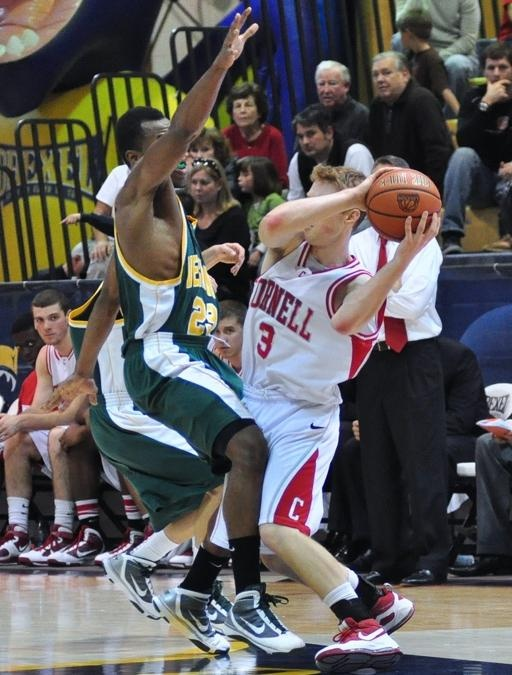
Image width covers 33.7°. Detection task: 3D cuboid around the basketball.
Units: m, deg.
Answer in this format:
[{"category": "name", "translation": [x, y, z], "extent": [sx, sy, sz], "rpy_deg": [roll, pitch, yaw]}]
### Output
[{"category": "basketball", "translation": [0.350, -0.336, 2.270], "extent": [0.260, 0.212, 0.187], "rpy_deg": [2, 0, 2]}]

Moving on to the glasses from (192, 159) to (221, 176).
[{"category": "glasses", "translation": [-0.319, -1.120, 5.467], "extent": [0.142, 0.036, 0.119], "rpy_deg": [1, -37, 7]}]

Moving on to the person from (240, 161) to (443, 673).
[{"category": "person", "translation": [0.237, 0.164, 2.317], "extent": [0.537, 1.257, 0.612], "rpy_deg": [-6, -2, -2]}]
